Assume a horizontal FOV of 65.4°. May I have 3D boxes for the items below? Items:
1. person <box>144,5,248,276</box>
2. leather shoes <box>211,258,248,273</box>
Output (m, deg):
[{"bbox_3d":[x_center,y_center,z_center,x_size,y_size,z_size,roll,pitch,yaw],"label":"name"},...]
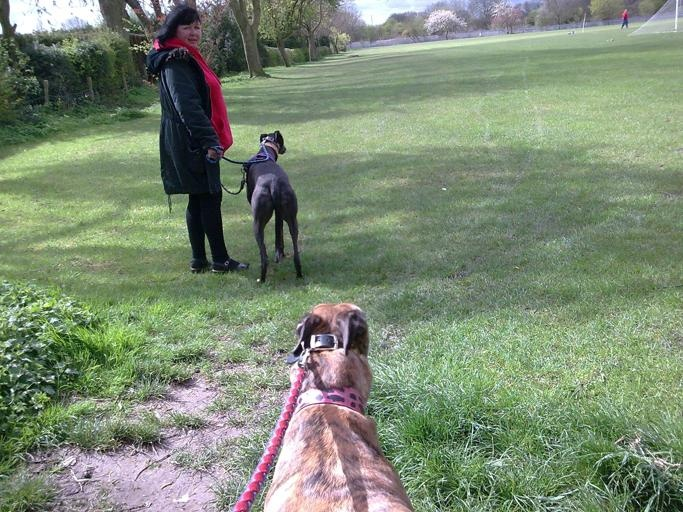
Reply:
[{"bbox_3d":[-1.829,-1.333,6.602,0.834,3.310,0.711,-2,17,8],"label":"person"},{"bbox_3d":[-1.488,0.101,7.141,0.409,0.195,0.208,-5,6,-13],"label":"leather shoes"}]
